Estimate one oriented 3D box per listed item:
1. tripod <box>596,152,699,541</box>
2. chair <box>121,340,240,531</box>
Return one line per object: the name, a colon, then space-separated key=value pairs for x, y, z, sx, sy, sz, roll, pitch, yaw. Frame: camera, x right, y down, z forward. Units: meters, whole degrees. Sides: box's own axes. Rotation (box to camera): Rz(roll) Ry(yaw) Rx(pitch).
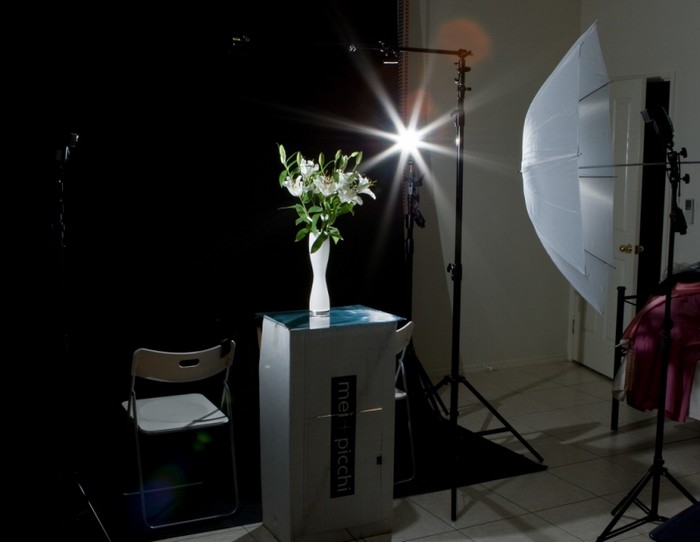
tripod: x=1.699 y=0.365 z=3.282 sx=0.443 sy=2.010 sz=1.085 roll=5 pitch=10 yaw=30
chair: x=-0.963 y=0.881 z=3.432 sx=0.575 sy=1.012 sz=0.637 roll=0 pitch=6 yaw=-13
